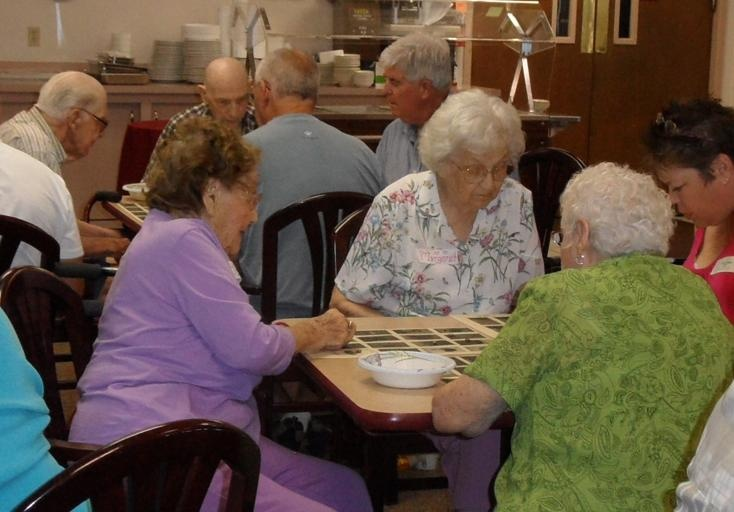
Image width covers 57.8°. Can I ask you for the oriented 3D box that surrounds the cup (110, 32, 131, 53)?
[{"bbox_3d":[-2.262,-1.953,6.224,0.183,0.229,0.188,4,9,-1],"label":"cup"}]

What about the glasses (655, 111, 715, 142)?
[{"bbox_3d":[1.038,-0.410,2.189,0.179,0.056,0.080,30,-14,49],"label":"glasses"}]

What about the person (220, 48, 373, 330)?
[{"bbox_3d":[-0.398,-0.346,3.141,0.659,1.212,0.591,-15,35,-36],"label":"person"}]

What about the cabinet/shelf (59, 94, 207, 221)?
[{"bbox_3d":[-2.084,-0.885,5.579,1.149,1.245,1.154,-3,15,-14],"label":"cabinet/shelf"}]
